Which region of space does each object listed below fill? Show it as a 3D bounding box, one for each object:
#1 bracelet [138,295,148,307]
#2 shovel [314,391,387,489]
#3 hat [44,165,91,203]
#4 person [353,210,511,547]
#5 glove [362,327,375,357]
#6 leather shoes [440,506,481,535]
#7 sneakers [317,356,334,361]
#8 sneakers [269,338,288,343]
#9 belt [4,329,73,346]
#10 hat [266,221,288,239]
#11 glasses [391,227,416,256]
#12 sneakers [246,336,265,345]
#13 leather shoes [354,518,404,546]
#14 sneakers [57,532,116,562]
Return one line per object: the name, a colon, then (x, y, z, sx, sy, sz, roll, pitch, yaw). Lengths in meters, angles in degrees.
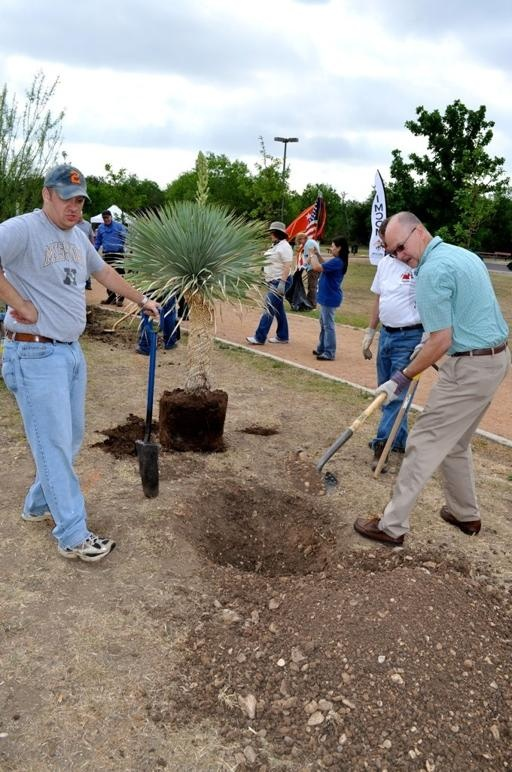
bracelet: (-0.725, -0.537, 3.886, 0.070, 0.066, 0.072, 11, -15, -40)
shovel: (0.823, 0.482, 5.319, 0.151, 0.159, 1.073, 15, 45, 35)
hat: (-0.927, -0.999, 2.982, 0.207, 0.177, 0.299, 2, 12, -17)
person: (1.133, -0.001, 3.696, 0.792, 1.995, 0.498, 0, 13, -23)
glove: (1.052, -0.413, 5.727, 0.101, 0.275, 0.212, 1, 19, 11)
leather shoes: (1.399, 0.895, 4.151, 0.096, 0.115, 0.267, -14, 29, -25)
sneakers: (1.054, -0.441, 9.249, 0.234, 0.098, 0.096, 5, 6, -3)
sneakers: (0.385, -0.784, 10.374, 0.315, 0.138, 0.121, 9, 6, 0)
belt: (-1.108, -0.248, 3.120, 0.317, 0.066, 0.139, 2, 11, -17)
hat: (0.334, -2.320, 8.890, 0.247, 0.138, 0.273, 12, -12, 13)
glasses: (0.878, -0.840, 3.544, 0.040, 0.133, 0.130, 41, -12, 3)
sneakers: (-0.005, -0.723, 9.961, 0.276, 0.122, 0.109, 25, 28, -39)
leather shoes: (0.740, 0.902, 3.837, 0.323, 0.130, 0.128, 22, 16, 18)
sneakers: (-0.933, 0.869, 3.377, 0.297, 0.134, 0.135, 1, 18, 1)
